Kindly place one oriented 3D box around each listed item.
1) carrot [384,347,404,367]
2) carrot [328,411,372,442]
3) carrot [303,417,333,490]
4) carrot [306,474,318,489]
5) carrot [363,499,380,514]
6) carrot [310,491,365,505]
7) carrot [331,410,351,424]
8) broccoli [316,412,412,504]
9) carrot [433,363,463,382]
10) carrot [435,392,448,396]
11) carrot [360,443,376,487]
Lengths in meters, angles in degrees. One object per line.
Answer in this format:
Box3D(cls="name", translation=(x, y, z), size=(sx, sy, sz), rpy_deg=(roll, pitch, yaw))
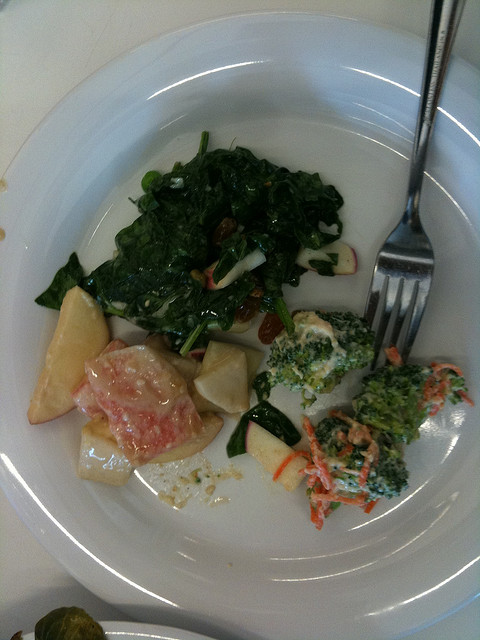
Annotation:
Box3D(cls="carrot", translation=(0.498, 0.121, 1.876), size=(0.046, 0.015, 0.059), rpy_deg=(-8, 73, -2))
Box3D(cls="carrot", translation=(0.347, 0.345, 1.857), size=(0.145, 0.034, 0.038), rpy_deg=(24, 95, 47))
Box3D(cls="carrot", translation=(0.242, 0.421, 1.826), size=(0.062, 0.044, 0.211), rpy_deg=(-18, 59, 13))
Box3D(cls="carrot", translation=(0.226, 0.516, 1.862), size=(0.023, 0.010, 0.060), rpy_deg=(-26, 27, 26))
Box3D(cls="carrot", translation=(0.428, 0.616, 1.921), size=(0.026, 0.092, 0.013), rpy_deg=(11, 48, -20))
Box3D(cls="carrot", translation=(0.310, 0.560, 1.837), size=(0.200, 0.041, 0.029), rpy_deg=(10, 64, -4))
Box3D(cls="carrot", translation=(0.327, 0.318, 1.898), size=(0.040, 0.010, 0.034), rpy_deg=(8, 39, 5))
Box3D(cls="broccoli", translation=(0.425, 0.412, 1.861), size=(0.271, 0.278, 0.085), rpy_deg=(49, 42, 3))
Box3D(cls="carrot", translation=(0.646, 0.157, 1.830), size=(0.069, 0.019, 0.066), rpy_deg=(-5, 96, 15))
Box3D(cls="carrot", translation=(0.625, 0.232, 1.810), size=(0.047, 0.037, 0.010), rpy_deg=(0, 84, 4))
Box3D(cls="carrot", translation=(0.380, 0.435, 1.762), size=(0.036, 0.025, 0.130), rpy_deg=(12, 92, -4))
